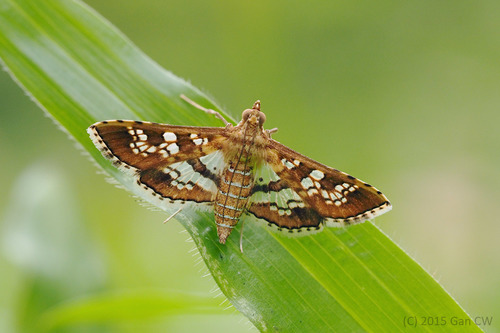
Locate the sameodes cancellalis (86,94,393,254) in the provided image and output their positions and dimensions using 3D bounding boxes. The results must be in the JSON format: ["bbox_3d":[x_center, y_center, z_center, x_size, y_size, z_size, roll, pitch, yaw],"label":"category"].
[{"bbox_3d":[-0.119,0.042,4.777,2.640,0.778,0.875,10,-55,-5],"label":"sameodes cancellalis"}]
